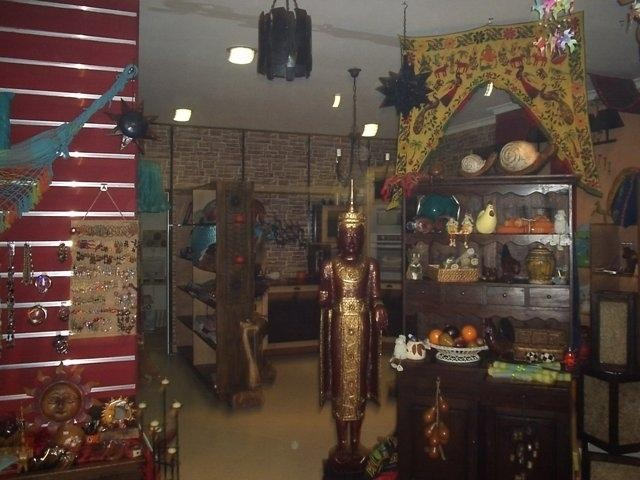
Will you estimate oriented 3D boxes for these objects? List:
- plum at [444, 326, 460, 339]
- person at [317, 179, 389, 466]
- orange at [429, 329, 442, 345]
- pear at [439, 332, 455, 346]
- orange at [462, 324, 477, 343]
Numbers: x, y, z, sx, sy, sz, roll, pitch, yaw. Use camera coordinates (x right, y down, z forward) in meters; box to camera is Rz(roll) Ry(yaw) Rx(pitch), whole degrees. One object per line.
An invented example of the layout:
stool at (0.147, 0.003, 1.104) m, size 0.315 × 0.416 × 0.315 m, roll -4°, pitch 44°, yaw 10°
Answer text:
plum at (1.080, 0.762, 4.567) m, size 0.095 × 0.127 × 0.101 m, roll 5°, pitch 7°, yaw -5°
person at (0.256, 0.667, 4.373) m, size 0.527 × 2.234 × 0.290 m, roll -1°, pitch 7°, yaw -1°
orange at (0.953, 0.791, 4.577) m, size 0.091 × 0.098 × 0.098 m, roll 6°, pitch 15°, yaw 30°
pear at (1.026, 0.816, 4.526) m, size 0.091 × 0.137 × 0.091 m, roll 34°, pitch -40°, yaw -24°
orange at (1.217, 0.759, 4.540) m, size 0.114 × 0.124 × 0.119 m, roll -9°, pitch 3°, yaw -13°
